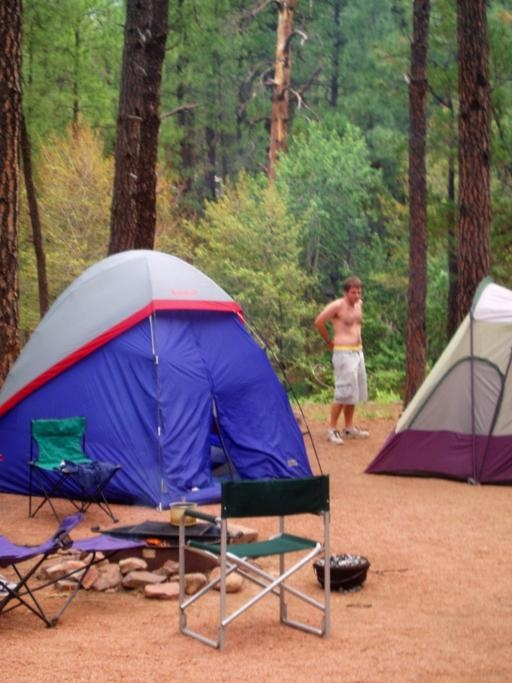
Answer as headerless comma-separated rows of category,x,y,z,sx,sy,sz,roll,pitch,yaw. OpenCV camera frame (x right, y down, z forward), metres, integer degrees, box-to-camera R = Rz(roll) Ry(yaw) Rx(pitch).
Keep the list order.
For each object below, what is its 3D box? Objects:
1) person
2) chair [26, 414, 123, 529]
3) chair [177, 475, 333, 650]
person,0.956,0.198,16.402,0.537,1.760,1.807,0,2,4
chair,-1.548,1.110,12.667,0.510,1.074,0.600,0,-5,-38
chair,-0.035,1.414,10.605,1.005,1.951,0.923,2,-3,-29
